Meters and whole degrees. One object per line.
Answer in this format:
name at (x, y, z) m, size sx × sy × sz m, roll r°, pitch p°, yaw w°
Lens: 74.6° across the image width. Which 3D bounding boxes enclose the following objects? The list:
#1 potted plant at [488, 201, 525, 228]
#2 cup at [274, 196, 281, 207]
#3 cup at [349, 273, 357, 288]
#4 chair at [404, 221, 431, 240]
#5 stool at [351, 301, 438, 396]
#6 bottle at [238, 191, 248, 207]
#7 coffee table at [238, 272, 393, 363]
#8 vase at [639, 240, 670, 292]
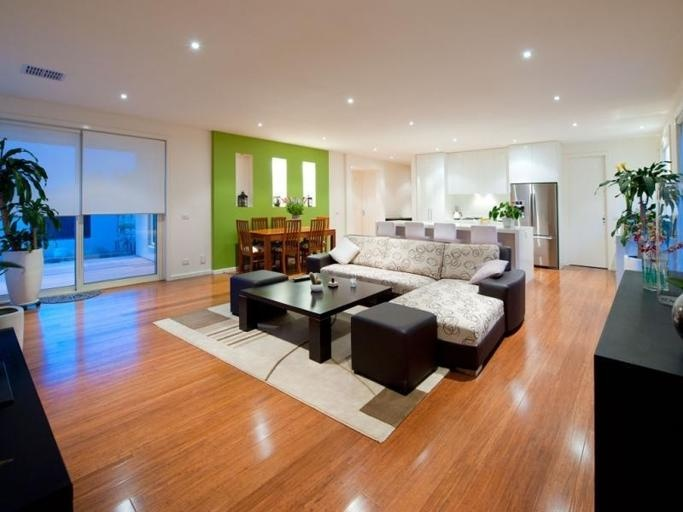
potted plant at (2.849, -0.696, 7.719) m, size 0.609 × 0.479 × 0.575 m, roll -7°, pitch 10°, yaw -42°
cup at (-1.269, -1.076, 8.895) m, size 0.188 × 0.212 × 0.107 m, roll -5°, pitch 7°, yaw -28°
cup at (0.110, 0.296, 5.046) m, size 0.086 × 0.171 × 0.091 m, roll 1°, pitch -1°, yaw 0°
chair at (1.194, -0.420, 7.200) m, size 0.235 × 0.396 × 0.299 m, roll 3°, pitch 9°, yaw 28°
stool at (0.481, 0.730, 3.995) m, size 0.604 × 0.693 × 0.631 m, roll 2°, pitch 6°, yaw 40°
bottle at (-1.828, -1.049, 8.353) m, size 0.149 × 0.300 × 0.284 m, roll -1°, pitch 6°, yaw 6°
coffee table at (-0.396, 0.465, 4.621) m, size 0.962 × 0.409 × 0.953 m, roll 5°, pitch 8°, yaw 39°
vase at (2.160, 0.089, 3.204) m, size 0.232 × 0.332 × 0.233 m, roll -2°, pitch -5°, yaw -36°
